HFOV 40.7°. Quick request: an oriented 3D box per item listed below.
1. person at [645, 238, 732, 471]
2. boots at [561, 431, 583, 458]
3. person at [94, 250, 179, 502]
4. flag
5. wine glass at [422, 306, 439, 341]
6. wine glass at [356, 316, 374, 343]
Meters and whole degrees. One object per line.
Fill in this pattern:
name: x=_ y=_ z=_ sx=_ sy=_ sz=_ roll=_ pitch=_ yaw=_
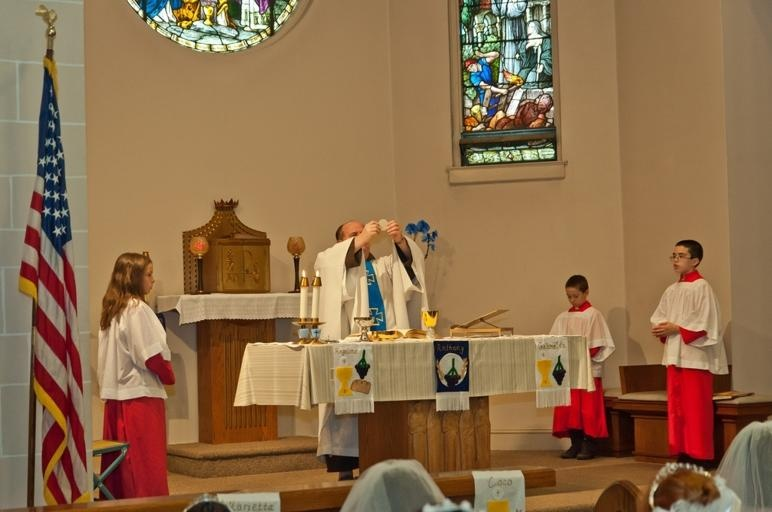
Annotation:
person: x=2.723 y=0.873 z=9.335 sx=0.631 sy=2.037 sz=0.372 roll=-2 pitch=-4 yaw=18
boots: x=1.731 y=1.817 z=9.922 sx=0.293 sy=0.309 sz=0.132 roll=5 pitch=-9 yaw=-44
person: x=-2.007 y=0.947 z=8.255 sx=0.605 sy=1.922 sz=0.337 roll=0 pitch=-4 yaw=-5
flag: x=-2.246 y=0.001 z=7.047 sx=0.460 sy=3.352 sz=0.257 roll=1 pitch=-4 yaw=-20
wine glass: x=0.353 y=0.533 z=8.133 sx=0.176 sy=0.301 sz=0.174 roll=0 pitch=-1 yaw=-21
wine glass: x=-0.175 y=0.547 z=7.824 sx=0.141 sy=0.185 sz=0.155 roll=1 pitch=-6 yaw=-8
